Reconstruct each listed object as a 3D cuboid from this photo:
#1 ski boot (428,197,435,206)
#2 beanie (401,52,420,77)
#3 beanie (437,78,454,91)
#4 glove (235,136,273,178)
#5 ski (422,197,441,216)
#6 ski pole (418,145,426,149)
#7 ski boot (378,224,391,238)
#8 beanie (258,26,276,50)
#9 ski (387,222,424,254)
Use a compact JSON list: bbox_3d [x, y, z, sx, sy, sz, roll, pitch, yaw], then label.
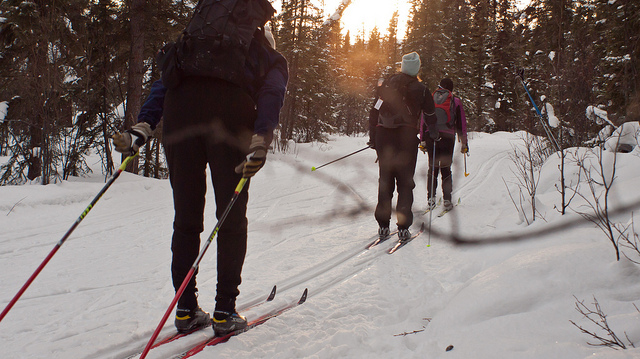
[{"bbox_3d":[3.008,0.602,13.519,0.197,0.267,0.099,3,4,37],"label":"ski boot"},{"bbox_3d":[2.233,-2.817,12.409,0.460,0.624,0.340,0,3,2],"label":"beanie"},{"bbox_3d":[3.510,-2.650,13.954,0.278,0.365,0.368,43,37,21],"label":"beanie"},{"bbox_3d":[-1.312,-0.454,9.834,0.538,0.839,0.253,31,-21,-34],"label":"glove"},{"bbox_3d":[3.019,0.722,13.521,0.192,0.159,1.418,18,28,25],"label":"ski"},{"bbox_3d":[2.793,-0.884,13.743,0.190,0.068,0.048,10,-2,-42],"label":"ski pole"},{"bbox_3d":[1.556,1.233,12.189,0.311,0.298,0.226,-1,2,-4],"label":"ski boot"},{"bbox_3d":[-1.021,-2.904,10.225,0.336,0.444,0.405,-9,-39,6],"label":"beanie"},{"bbox_3d":[2.038,1.423,12.024,0.157,0.167,1.182,24,43,37],"label":"ski"}]
